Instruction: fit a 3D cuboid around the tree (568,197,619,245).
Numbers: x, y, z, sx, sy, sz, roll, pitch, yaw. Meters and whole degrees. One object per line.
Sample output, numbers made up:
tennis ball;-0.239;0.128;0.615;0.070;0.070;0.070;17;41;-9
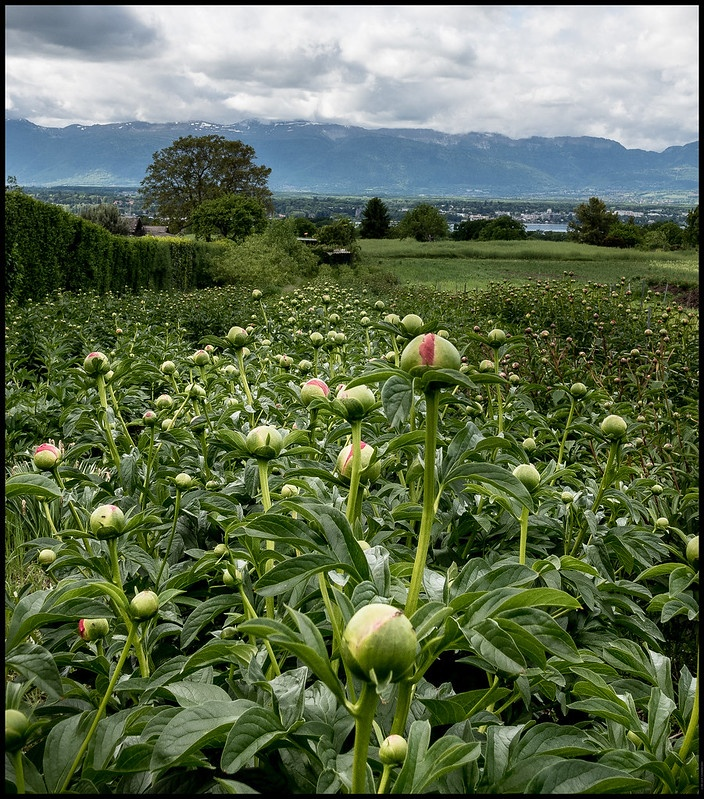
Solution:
tree;7.468;-5.301;20.053;1.338;1.575;1.818;0;28;32

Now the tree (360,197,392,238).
tree;1.779;-14.819;52.465;2.643;4.509;2.800;-4;10;-16

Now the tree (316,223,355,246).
tree;-0.671;-8.627;33.678;1.403;1.656;1.460;4;18;17

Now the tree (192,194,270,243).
tree;-7.229;-10.921;40.573;3.679;3.125;4.118;6;28;14

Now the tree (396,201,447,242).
tree;4.927;-12.265;44.339;3.378;2.559;1.303;9;13;43
